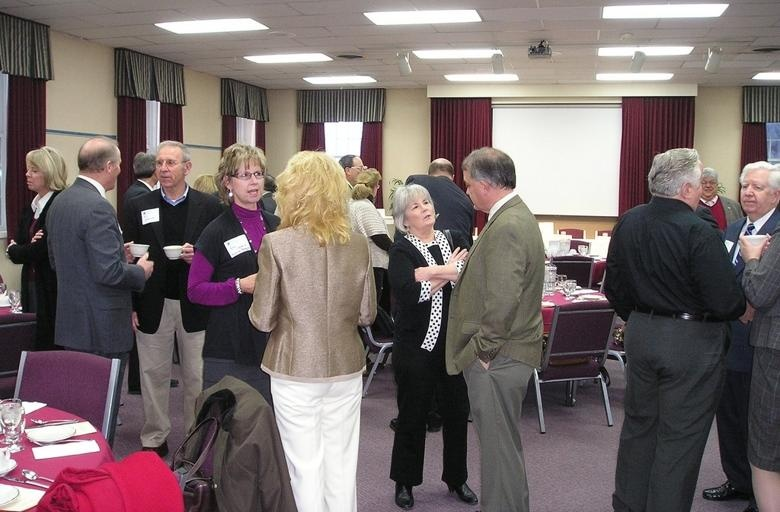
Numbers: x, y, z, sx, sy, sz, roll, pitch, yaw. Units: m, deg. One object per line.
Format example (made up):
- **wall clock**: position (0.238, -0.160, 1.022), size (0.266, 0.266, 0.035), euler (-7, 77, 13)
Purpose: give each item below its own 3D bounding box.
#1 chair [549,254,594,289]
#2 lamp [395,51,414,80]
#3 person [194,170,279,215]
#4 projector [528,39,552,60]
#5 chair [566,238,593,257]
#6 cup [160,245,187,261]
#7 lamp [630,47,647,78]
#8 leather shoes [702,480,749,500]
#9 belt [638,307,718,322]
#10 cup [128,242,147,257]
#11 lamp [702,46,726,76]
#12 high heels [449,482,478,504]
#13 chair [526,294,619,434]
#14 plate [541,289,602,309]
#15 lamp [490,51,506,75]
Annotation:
- **chair**: position (2.326, 0.173, 7.599), size (0.417, 0.618, 0.464), euler (3, 18, 11)
- **lamp**: position (0.199, -3.140, 9.735), size (0.289, 0.522, 0.279), euler (-4, 22, -4)
- **person**: position (-1.566, -0.693, 6.599), size (1.196, 0.331, 0.909), euler (8, 4, 28)
- **projector**: position (2.269, -3.074, 8.913), size (0.325, 0.244, 0.439), euler (2, 4, 12)
- **chair**: position (2.877, -0.109, 9.000), size (0.268, 0.347, 0.286), euler (-2, -18, 20)
- **cup**: position (-1.482, -0.018, 4.153), size (0.090, 0.061, 0.123), euler (-6, -13, 32)
- **lamp**: position (3.868, -3.055, 9.256), size (0.225, 0.140, 0.421), euler (3, -23, 5)
- **leather shoes**: position (2.371, 1.685, 4.247), size (0.320, 0.132, 0.123), euler (3, -3, 6)
- **belt**: position (1.741, 0.364, 3.609), size (0.443, 0.066, 0.097), euler (3, 5, 26)
- **cup**: position (-1.774, -0.033, 4.234), size (0.099, 0.066, 0.102), euler (1, -5, 0)
- **lamp**: position (4.966, -3.007, 9.117), size (0.158, 0.306, 0.514), euler (3, 5, 24)
- **high heels**: position (0.514, 1.666, 4.187), size (0.098, 0.112, 0.242), euler (-1, -1, -43)
- **chair**: position (1.533, 0.897, 5.393), size (0.918, 1.159, 0.991), euler (4, 8, 17)
- **plate**: position (1.706, 0.423, 5.704), size (0.319, 0.079, 0.324), euler (-1, 9, 1)
- **lamp**: position (1.733, -3.089, 9.435), size (0.265, 0.356, 0.496), euler (-2, 19, 3)
